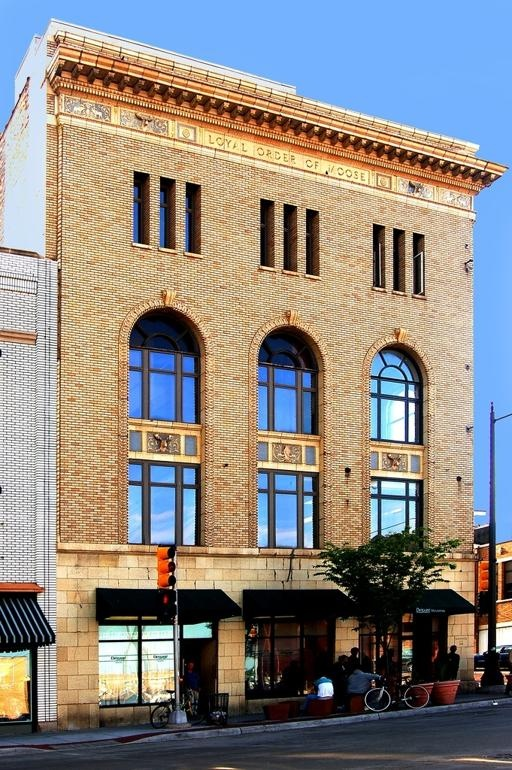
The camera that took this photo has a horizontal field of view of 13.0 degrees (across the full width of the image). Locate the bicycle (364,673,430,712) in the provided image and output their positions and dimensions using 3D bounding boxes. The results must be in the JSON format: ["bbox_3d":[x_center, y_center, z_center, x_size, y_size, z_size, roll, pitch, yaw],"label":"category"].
[{"bbox_3d":[3.612,8.006,57.049,1.975,0.921,1.309,5,-13,-22],"label":"bicycle"}]

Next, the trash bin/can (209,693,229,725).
[{"bbox_3d":[-0.924,8.039,55.148,0.522,1.199,0.591,3,-12,-6],"label":"trash bin/can"}]

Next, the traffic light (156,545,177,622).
[{"bbox_3d":[-2.137,4.686,52.401,0.430,1.821,0.983,0,-10,-2],"label":"traffic light"}]

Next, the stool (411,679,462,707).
[{"bbox_3d":[4.705,7.945,57.750,0.690,0.306,0.750,-12,-20,25],"label":"stool"}]
